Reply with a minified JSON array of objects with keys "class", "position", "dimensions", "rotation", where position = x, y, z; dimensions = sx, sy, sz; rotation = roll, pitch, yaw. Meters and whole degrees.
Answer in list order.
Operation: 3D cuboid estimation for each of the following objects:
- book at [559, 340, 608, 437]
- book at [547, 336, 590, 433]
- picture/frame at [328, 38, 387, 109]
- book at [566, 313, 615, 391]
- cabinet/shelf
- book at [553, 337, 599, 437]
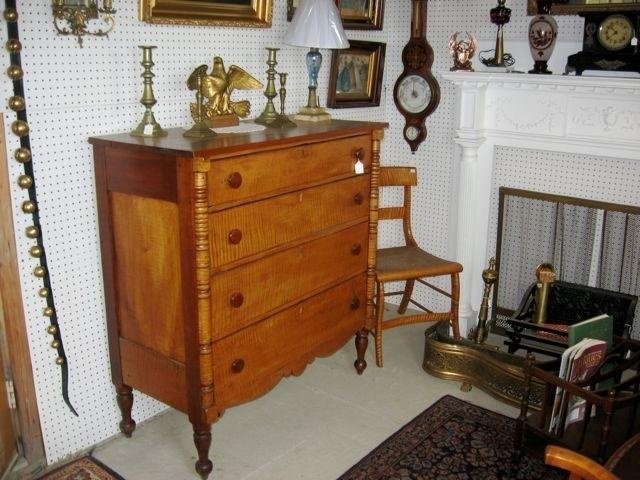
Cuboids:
[{"class":"book","position":[1.555,0.878,3.181],"dimensions":[0.397,0.542,0.179],"rotation":[-16,20,-41]},{"class":"book","position":[1.493,0.880,3.219],"dimensions":[0.103,0.516,0.436],"rotation":[19,24,39]},{"class":"picture/frame","position":[0.311,-1.457,4.707],"dimensions":[0.047,0.537,0.606],"rotation":[23,31,35]},{"class":"book","position":[1.668,0.698,3.310],"dimensions":[0.058,0.350,0.346],"rotation":[6,17,44]},{"class":"cabinet/shelf","position":[-0.552,0.352,3.294],"dimensions":[0.948,1.858,1.642],"rotation":[17,26,38]},{"class":"book","position":[1.529,0.886,3.201],"dimensions":[0.436,0.459,0.142],"rotation":[-16,21,-41]}]
